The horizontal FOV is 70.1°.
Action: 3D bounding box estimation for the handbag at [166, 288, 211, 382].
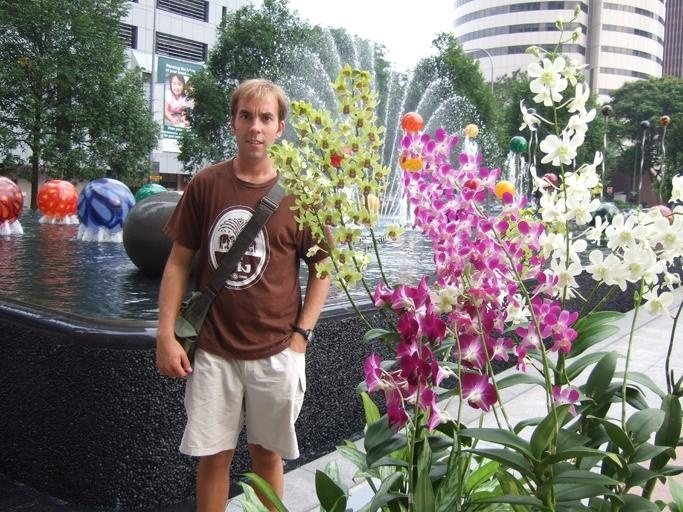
[{"bbox_3d":[-0.682,0.327,2.221,0.112,0.315,0.227,15,-8,-35],"label":"handbag"}]
